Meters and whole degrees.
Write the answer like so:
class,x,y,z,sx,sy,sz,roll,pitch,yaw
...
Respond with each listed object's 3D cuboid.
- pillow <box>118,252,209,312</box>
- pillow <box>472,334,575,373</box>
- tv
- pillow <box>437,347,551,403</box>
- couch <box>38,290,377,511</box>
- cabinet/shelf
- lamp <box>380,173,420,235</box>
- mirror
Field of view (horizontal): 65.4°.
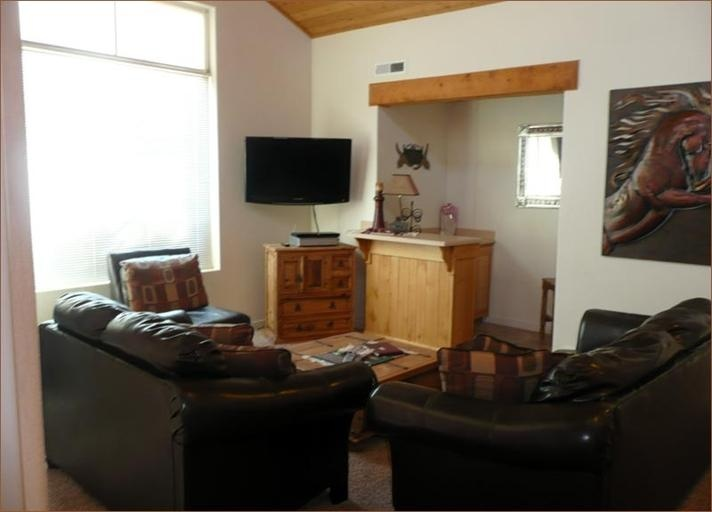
class,x,y,z,sx,sy,sz,roll,pitch,yaw
pillow,-1.635,0.265,4.732,0.248,0.471,0.689,1,7,42
pillow,0.755,0.502,2.674,0.353,0.095,0.200,10,31,30
tv,-0.618,-0.883,5.655,0.784,0.480,0.076,0,11,-7
pillow,0.607,0.530,2.514,0.319,0.130,0.323,1,0,16
couch,-0.753,0.454,2.884,1.826,0.993,1.103,7,11,43
cabinet/shelf,-0.504,0.369,5.703,0.887,0.870,0.527,-1,3,-26
lamp,0.474,-0.473,5.496,0.332,0.587,0.331,6,6,34
mirror,1.926,-0.946,5.815,0.110,0.869,0.502,-8,10,-39
